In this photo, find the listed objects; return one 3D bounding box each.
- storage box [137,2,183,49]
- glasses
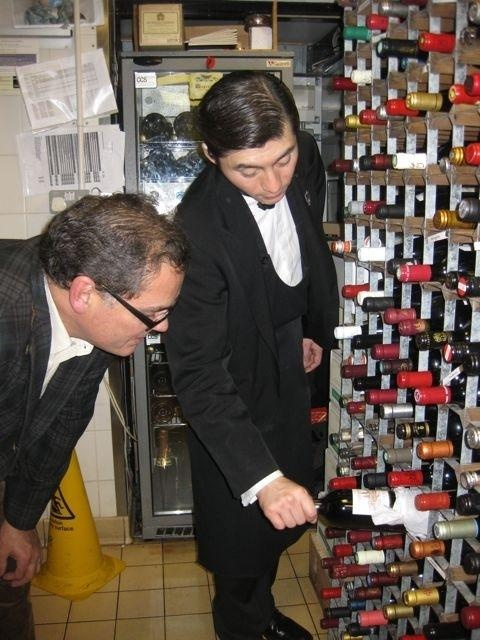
[{"bbox_3d":[-0.335,-1.214,2.214,0.176,0.170,0.095,-1,7,-1],"label":"storage box"},{"bbox_3d":[-0.201,-0.016,1.031,0.025,0.091,0.077,-46,8,15],"label":"glasses"}]
